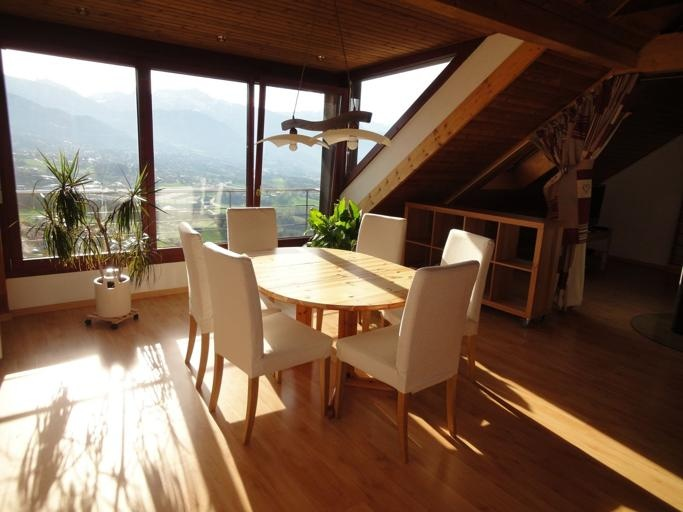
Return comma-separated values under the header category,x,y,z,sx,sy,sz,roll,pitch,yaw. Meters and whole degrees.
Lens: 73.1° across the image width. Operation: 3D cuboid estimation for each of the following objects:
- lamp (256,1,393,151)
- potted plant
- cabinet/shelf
category,x,y,z,sx,sy,sz,roll,pitch,yaw
lamp,-0.243,-1.923,4.809,1.551,1.771,0.613,1,6,7
potted plant,-2.431,-0.219,4.663,1.141,1.642,0.919,-6,14,-35
cabinet/shelf,1.570,-0.040,5.515,1.695,1.113,0.506,15,21,42
